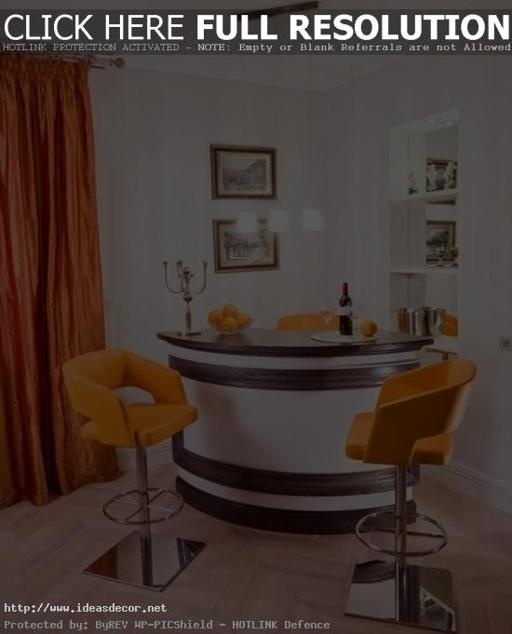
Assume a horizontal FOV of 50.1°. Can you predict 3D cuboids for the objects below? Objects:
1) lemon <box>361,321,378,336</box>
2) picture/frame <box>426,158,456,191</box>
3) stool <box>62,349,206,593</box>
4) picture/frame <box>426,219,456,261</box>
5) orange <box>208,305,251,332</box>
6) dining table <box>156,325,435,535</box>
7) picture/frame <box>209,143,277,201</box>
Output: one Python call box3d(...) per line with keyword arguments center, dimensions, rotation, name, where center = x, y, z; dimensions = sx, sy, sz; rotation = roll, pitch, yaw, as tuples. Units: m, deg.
box3d(center=(0.586, 0.050, 2.825), dimensions=(0.070, 0.076, 0.076), rotation=(1, 12, 16), name="lemon")
box3d(center=(1.245, -0.962, 3.672), dimensions=(0.028, 0.261, 0.255), rotation=(-5, 13, -29), name="picture/frame")
box3d(center=(-0.640, 0.805, 2.856), dimensions=(0.640, 1.404, 0.748), rotation=(4, 10, 22), name="stool")
box3d(center=(1.259, -0.508, 3.753), dimensions=(0.031, 0.300, 0.313), rotation=(-6, 9, -24), name="picture/frame")
box3d(center=(-0.146, 0.010, 3.146), dimensions=(0.168, 0.102, 0.184), rotation=(4, 12, 7), name="orange")
box3d(center=(0.109, 0.565, 3.118), dimensions=(1.472, 1.099, 0.858), rotation=(6, 13, 24), name="dining table")
box3d(center=(-0.125, -1.135, 4.241), dimensions=(0.473, 0.350, 0.021), rotation=(-3, 5, -29), name="picture/frame")
